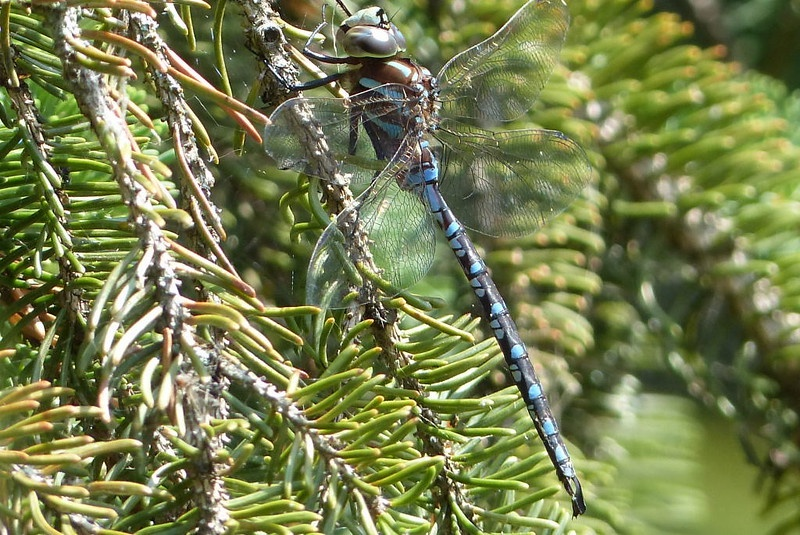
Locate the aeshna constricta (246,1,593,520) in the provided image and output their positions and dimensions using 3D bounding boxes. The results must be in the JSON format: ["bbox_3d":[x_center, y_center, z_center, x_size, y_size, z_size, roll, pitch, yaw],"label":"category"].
[{"bbox_3d":[0.013,0.003,2.283,0.853,0.436,1.097,-23,88,-42],"label":"aeshna constricta"}]
